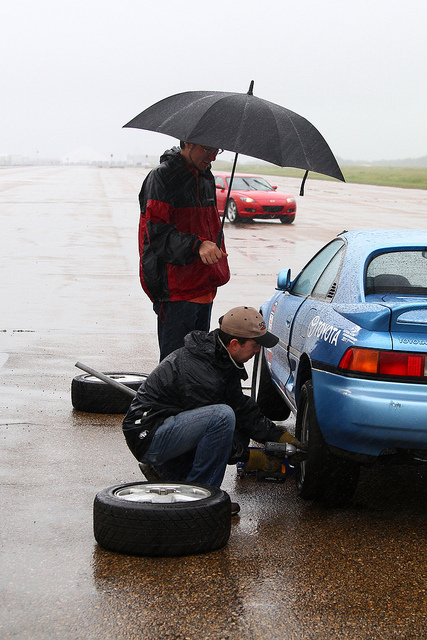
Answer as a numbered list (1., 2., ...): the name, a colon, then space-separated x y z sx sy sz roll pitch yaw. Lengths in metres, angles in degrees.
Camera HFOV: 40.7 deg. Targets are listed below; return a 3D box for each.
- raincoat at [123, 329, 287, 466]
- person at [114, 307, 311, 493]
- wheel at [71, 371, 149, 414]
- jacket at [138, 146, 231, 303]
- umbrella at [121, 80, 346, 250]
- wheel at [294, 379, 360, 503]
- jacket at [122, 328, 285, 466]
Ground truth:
1. raincoat: -0.027 0.402 3.143 0.800 0.704 0.437 2 -2 -33
2. person: -0.002 0.408 3.163 0.681 0.948 0.700 0 -2 38
3. wheel: -0.948 0.644 5.212 0.545 0.184 0.508 1 3 0
4. jacket: -0.194 -0.547 3.736 0.607 1.025 0.494 6 14 -17
5. umbrella: 0.111 -1.175 3.509 1.311 0.656 0.846 1 -2 11
6. wheel: 0.610 0.673 3.119 0.346 0.689 0.578 1 -2 9
7. jacket: -0.017 0.464 3.360 0.911 0.708 0.785 0 24 -43
